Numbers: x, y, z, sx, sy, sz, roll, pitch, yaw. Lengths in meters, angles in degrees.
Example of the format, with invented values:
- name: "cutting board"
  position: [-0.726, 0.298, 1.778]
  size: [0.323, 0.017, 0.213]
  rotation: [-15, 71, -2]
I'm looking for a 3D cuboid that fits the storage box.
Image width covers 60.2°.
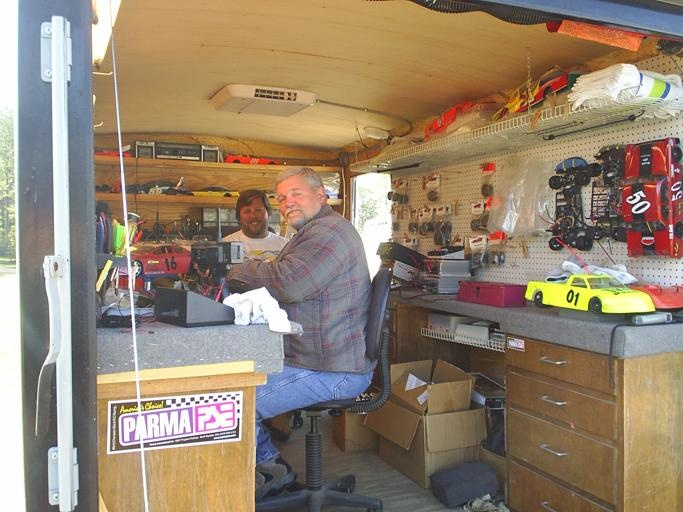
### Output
- name: "storage box"
  position: [0.399, 0.938, 3.490]
  size: [0.677, 0.541, 0.858]
  rotation: [2, -3, -26]

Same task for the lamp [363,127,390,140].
- name: "lamp"
  position: [0.277, -0.947, 4.620]
  size: [0.204, 0.108, 0.239]
  rotation: [-2, 3, 4]
